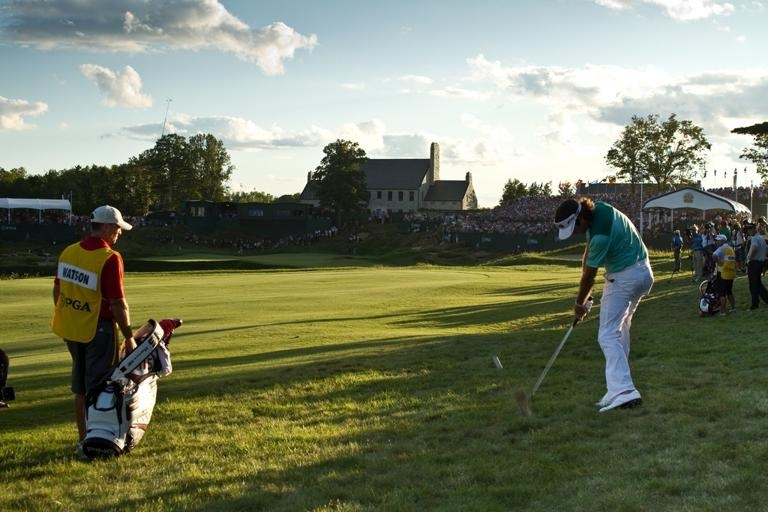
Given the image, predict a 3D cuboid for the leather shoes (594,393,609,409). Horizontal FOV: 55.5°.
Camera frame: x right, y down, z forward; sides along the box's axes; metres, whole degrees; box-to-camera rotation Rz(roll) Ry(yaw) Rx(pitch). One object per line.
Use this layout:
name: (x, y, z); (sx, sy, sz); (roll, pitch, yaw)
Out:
leather shoes: (3.345, 2.218, 11.118); (0.207, 0.077, 0.169); (-12, 2, 18)

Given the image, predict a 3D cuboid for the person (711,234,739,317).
person: (8.196, 0.468, 17.458); (0.742, 2.051, 0.640); (0, 0, 22)
